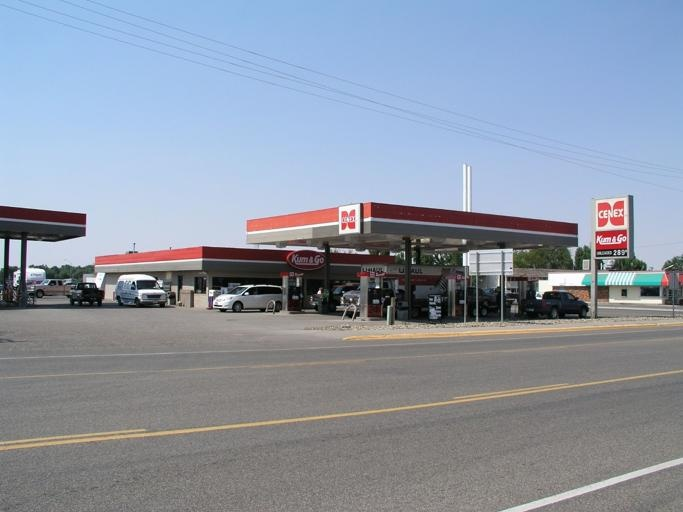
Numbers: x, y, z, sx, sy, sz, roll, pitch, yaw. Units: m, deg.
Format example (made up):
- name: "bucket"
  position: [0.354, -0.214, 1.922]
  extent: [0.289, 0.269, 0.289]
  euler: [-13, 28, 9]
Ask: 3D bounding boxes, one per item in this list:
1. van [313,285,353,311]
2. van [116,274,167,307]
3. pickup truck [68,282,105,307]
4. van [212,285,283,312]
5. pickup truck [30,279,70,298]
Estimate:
- name: "van"
  position: [-0.705, 3.038, 44.461]
  extent: [2.888, 1.367, 1.688]
  euler: [-4, -2, 0]
- name: "van"
  position: [-16.078, 2.829, 49.987]
  extent: [2.454, 2.005, 4.563]
  euler: [3, -8, -37]
- name: "pickup truck"
  position: [-20.759, 3.055, 49.853]
  extent: [1.788, 1.363, 3.136]
  euler: [3, -3, -36]
- name: "van"
  position: [-6.384, 3.008, 43.839]
  extent: [5.147, 1.781, 1.952]
  euler: [1, -2, -34]
- name: "pickup truck"
  position: [-33.029, 3.641, 70.756]
  extent: [1.961, 1.995, 4.761]
  euler: [-1, -5, 23]
